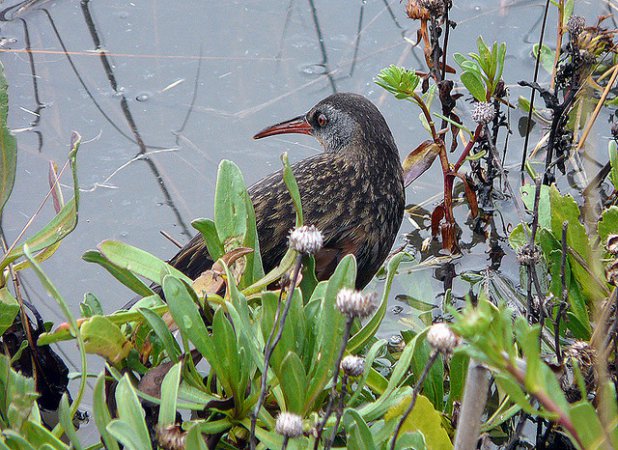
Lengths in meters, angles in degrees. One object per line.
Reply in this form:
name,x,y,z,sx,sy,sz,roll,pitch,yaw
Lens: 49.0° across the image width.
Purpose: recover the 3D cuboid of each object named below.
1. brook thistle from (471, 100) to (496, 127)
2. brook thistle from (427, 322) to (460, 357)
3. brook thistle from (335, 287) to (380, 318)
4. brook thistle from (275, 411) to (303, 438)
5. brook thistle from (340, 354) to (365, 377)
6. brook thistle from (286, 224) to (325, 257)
brook thistle,0.751,-0.476,2.909,0.128,0.099,0.128,4,23,15
brook thistle,0.343,0.292,1.736,0.072,0.074,0.089,-1,5,-17
brook thistle,0.129,0.197,1.771,0.082,0.052,0.081,3,-2,-39
brook thistle,-0.050,0.558,1.908,0.080,0.079,0.078,-4,-23,33
brook thistle,0.124,0.386,1.857,0.068,0.061,0.069,-1,-16,17
brook thistle,-0.011,0.044,1.928,0.082,0.078,0.082,11,-15,-41
